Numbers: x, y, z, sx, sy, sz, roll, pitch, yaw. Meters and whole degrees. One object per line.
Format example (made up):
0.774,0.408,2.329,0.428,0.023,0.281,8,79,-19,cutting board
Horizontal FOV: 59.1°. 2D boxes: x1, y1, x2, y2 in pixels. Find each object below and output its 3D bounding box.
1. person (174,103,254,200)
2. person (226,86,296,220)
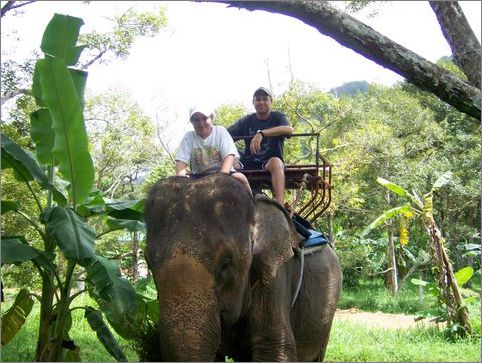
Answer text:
-0.342,-0.290,4.329,0.740,1.109,0.829,-4,14,-5,person
0.199,-0.425,5.449,0.882,1.875,1.101,-5,-11,31,person
